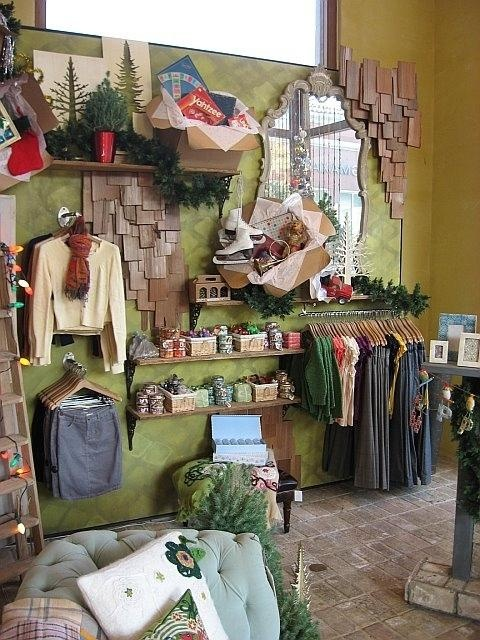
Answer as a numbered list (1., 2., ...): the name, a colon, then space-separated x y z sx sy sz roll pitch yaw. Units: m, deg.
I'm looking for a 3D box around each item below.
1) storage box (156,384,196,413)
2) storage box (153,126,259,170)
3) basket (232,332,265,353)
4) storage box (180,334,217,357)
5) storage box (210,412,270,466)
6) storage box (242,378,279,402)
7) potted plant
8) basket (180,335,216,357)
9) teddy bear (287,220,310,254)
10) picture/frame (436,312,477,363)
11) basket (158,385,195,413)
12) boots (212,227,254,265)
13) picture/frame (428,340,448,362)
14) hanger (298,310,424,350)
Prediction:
1. storage box: -0.399 0.536 3.320 0.131 0.100 0.216 -1 0 -26
2. storage box: -0.219 -1.101 3.293 0.633 0.273 0.332 1 3 -26
3. basket: 0.072 0.167 3.616 0.160 0.099 0.158 1 -2 -23
4. storage box: -0.240 0.185 3.465 0.259 0.137 0.130 0 4 -34
5. storage box: -0.020 0.845 3.512 0.377 0.321 0.287 2 -8 -5
6. storage box: 0.182 0.522 3.694 0.149 0.106 0.168 0 1 -14
7. potted plant: -0.810 -1.199 3.009 0.145 0.503 0.212 5 4 42
8. basket: -0.248 0.185 3.465 0.254 0.137 0.149 1 3 -26
9. teddy bear: 0.426 -0.609 3.672 0.165 0.245 0.096 2 3 5
10. picture/frame: 1.119 0.103 2.568 0.024 0.344 0.247 5 -4 -44
11. basket: -0.396 0.537 3.318 0.128 0.096 0.208 -1 1 -26
12. boots: -0.033 -0.490 3.431 0.366 0.272 0.147 1 19 4
13. picture/frame: 1.034 0.167 2.582 0.089 0.116 0.130 3 3 21
14. hanger: 1.011 0.069 4.100 0.668 0.260 0.451 0 -3 -23
